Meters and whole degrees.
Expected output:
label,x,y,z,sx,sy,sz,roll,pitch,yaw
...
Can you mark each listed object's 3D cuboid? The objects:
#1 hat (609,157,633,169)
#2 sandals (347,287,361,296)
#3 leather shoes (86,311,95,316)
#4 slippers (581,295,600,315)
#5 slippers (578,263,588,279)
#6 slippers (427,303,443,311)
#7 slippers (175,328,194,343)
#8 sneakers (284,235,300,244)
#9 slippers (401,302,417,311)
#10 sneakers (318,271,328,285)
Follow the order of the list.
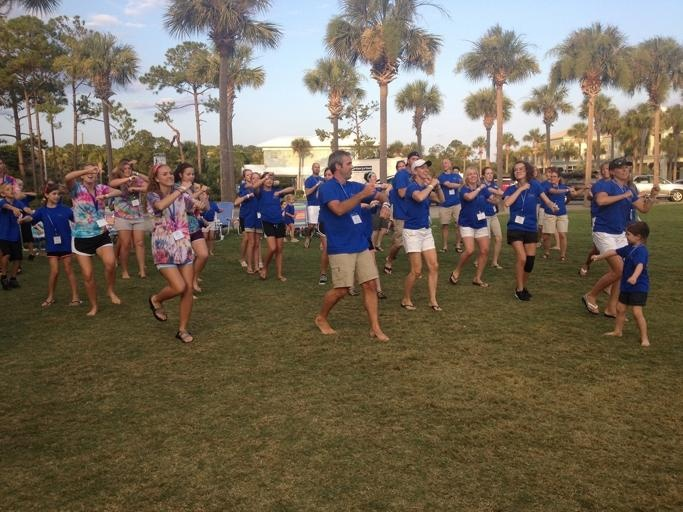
label,x,y,z,sx,sy,sz,roll,pitch,yaw
hat,3.888,-1.306,7.804,0.246,0.117,0.353,-5,2,-13
sandals,0.212,0.591,9.373,0.096,0.113,0.287,2,6,13
leather shoes,-3.611,0.812,7.896,0.116,0.066,0.051,-1,21,25
slippers,3.530,0.696,7.893,0.150,0.131,0.333,-5,43,-14
slippers,4.524,0.285,10.370,0.143,0.179,0.409,-3,-12,21
slippers,1.365,0.740,8.049,0.207,0.083,0.071,1,0,22
slippers,-1.928,0.950,6.804,0.182,0.135,0.334,-8,15,-29
sneakers,-1.626,-0.515,17.530,0.545,0.235,0.204,1,2,25
slippers,0.991,0.734,8.129,0.094,0.066,0.165,-2,1,-39
sneakers,-0.353,0.407,10.327,0.209,0.230,0.634,0,-2,4
